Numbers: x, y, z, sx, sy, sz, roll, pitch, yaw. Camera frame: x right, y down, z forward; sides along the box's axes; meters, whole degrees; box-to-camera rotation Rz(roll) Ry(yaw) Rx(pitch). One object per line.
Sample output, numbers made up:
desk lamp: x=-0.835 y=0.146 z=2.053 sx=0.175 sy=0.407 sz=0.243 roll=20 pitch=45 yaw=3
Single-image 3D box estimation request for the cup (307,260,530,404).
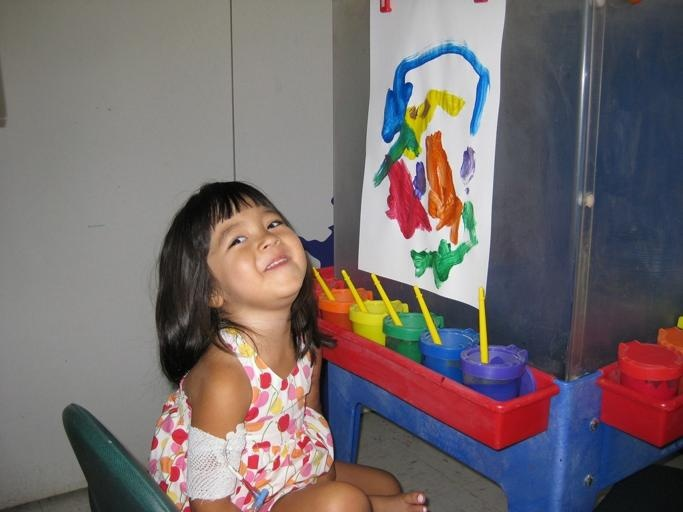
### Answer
cup: x=0.194 y=0.135 z=1.153 sx=0.120 sy=0.153 sz=0.358 roll=-14 pitch=22 yaw=-30
